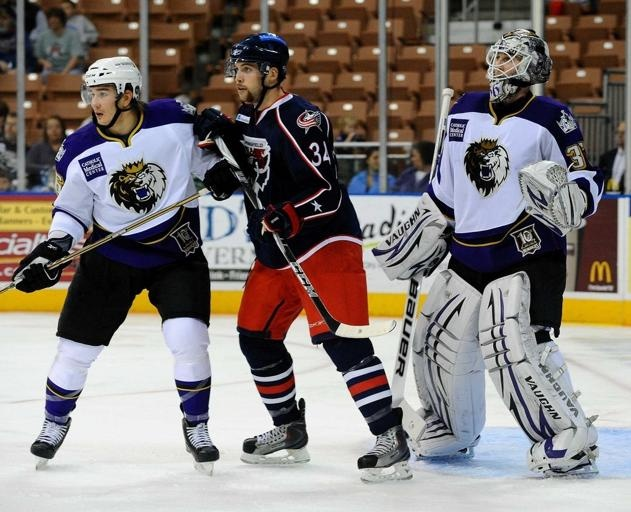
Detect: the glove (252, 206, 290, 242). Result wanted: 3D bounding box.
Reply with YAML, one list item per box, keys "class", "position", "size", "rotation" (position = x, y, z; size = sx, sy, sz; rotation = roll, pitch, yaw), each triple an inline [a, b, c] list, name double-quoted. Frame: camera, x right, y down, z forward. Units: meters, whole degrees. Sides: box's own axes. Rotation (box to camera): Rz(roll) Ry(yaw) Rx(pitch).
- class: "glove"
  position: [-0.179, -0.123, 3.431]
  size: [0.108, 0.120, 0.190]
  rotation: [-2, 5, -25]

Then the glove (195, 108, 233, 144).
- class: "glove"
  position: [-0.421, -0.524, 3.622]
  size: [0.069, 0.127, 0.149]
  rotation: [36, 20, -43]

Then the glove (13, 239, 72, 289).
- class: "glove"
  position: [-1.120, 0.047, 3.669]
  size: [0.271, 0.149, 0.074]
  rotation: [-35, -33, 22]

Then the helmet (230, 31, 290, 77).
- class: "helmet"
  position: [-0.223, -0.788, 3.603]
  size: [0.238, 0.167, 0.186]
  rotation: [-5, 20, -29]

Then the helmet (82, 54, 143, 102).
- class: "helmet"
  position: [-0.842, -0.691, 3.709]
  size: [0.245, 0.210, 0.201]
  rotation: [-8, 11, -36]

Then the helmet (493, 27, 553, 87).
- class: "helmet"
  position: [0.846, -0.797, 3.685]
  size: [0.277, 0.224, 0.195]
  rotation: [4, 17, -14]

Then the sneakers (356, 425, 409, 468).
- class: "sneakers"
  position: [0.254, 0.738, 3.475]
  size: [0.094, 0.145, 0.277]
  rotation: [-7, -4, 43]
